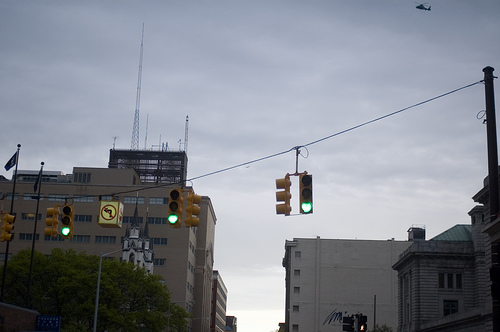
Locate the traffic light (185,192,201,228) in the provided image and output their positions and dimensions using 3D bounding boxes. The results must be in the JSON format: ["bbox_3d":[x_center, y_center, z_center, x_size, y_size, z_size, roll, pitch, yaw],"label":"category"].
[{"bbox_3d":[-4.884,3.951,62.616,1.202,2.578,1.024,7,1,-16],"label":"traffic light"}]

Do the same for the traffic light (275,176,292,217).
[{"bbox_3d":[2.893,2.412,60.703,1.209,3.312,0.878,1,-15,4],"label":"traffic light"}]

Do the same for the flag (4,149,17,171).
[{"bbox_3d":[-27.616,-0.490,82.310,0.863,2.416,1.946,1,-15,3],"label":"flag"}]
